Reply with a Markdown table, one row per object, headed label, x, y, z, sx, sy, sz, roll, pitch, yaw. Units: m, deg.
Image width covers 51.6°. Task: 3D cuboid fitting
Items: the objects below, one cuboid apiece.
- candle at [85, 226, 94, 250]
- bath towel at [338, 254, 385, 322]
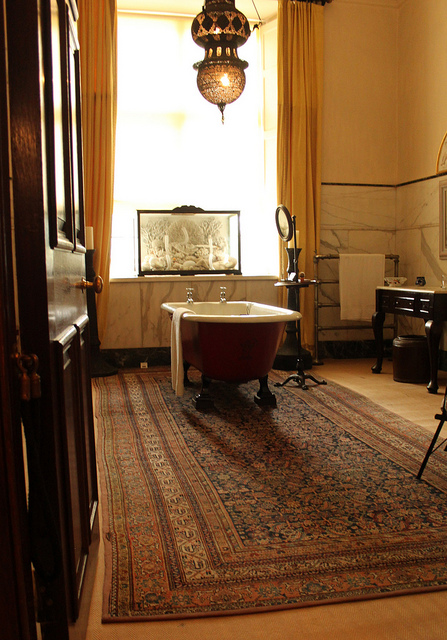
| label | x | y | z | sx | sy | sz | roll | pitch | yaw |
| --- | --- | --- | --- | --- | --- | --- | --- | --- | --- |
| candle | -1.114 | -0.672 | 3.833 | 0.049 | 0.169 | 0.190 | -1 | 3 | -12 |
| bath towel | 1.355 | -0.321 | 4.547 | 0.437 | 0.629 | 0.085 | -1 | 3 | -8 |
